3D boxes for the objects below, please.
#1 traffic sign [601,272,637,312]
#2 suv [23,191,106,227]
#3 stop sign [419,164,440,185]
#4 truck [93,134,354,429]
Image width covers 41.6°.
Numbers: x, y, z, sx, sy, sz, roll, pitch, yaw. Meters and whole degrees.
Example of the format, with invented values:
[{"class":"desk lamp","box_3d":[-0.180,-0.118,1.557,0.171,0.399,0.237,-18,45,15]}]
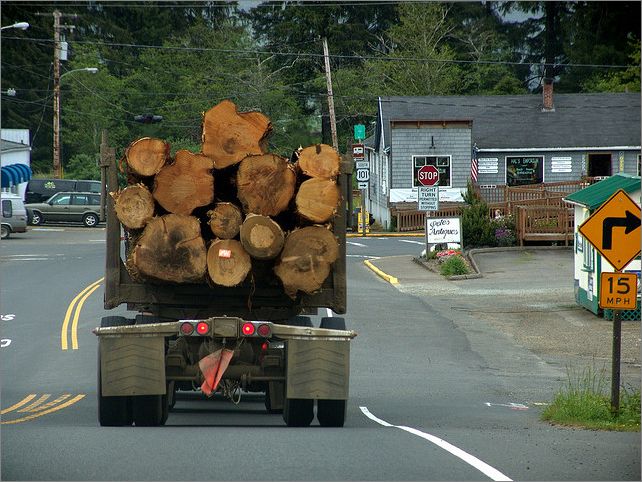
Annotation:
[{"class":"traffic sign","box_3d":[4.560,0.764,12.868,0.579,0.645,0.067,0,-3,6]},{"class":"suv","box_3d":[-14.123,-1.654,47.131,4.356,2.085,2.579,3,-4,-10]},{"class":"stop sign","box_3d":[4.059,-2.433,31.617,0.719,0.719,1.029,-1,5,4]},{"class":"truck","box_3d":[-1.470,0.705,12.396,3.646,4.218,1.225,-2,5,-3]}]
